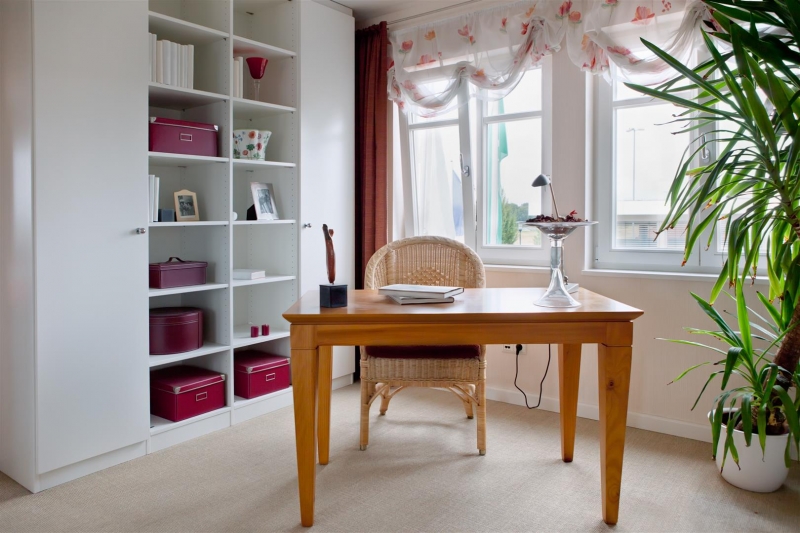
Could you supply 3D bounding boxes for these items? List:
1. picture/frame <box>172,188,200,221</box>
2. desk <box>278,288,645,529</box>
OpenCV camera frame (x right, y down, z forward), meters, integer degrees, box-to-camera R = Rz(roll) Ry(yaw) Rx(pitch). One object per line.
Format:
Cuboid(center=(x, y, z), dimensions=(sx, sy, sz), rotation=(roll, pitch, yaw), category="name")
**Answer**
Cuboid(center=(-1.453, -0.375, 4.052), dimensions=(0.012, 0.300, 0.222), rotation=(-11, -1, 35), category="picture/frame")
Cuboid(center=(0.395, 0.385, 3.528), dimensions=(2.044, 1.241, 1.178), rotation=(-1, -1, 0), category="desk")
